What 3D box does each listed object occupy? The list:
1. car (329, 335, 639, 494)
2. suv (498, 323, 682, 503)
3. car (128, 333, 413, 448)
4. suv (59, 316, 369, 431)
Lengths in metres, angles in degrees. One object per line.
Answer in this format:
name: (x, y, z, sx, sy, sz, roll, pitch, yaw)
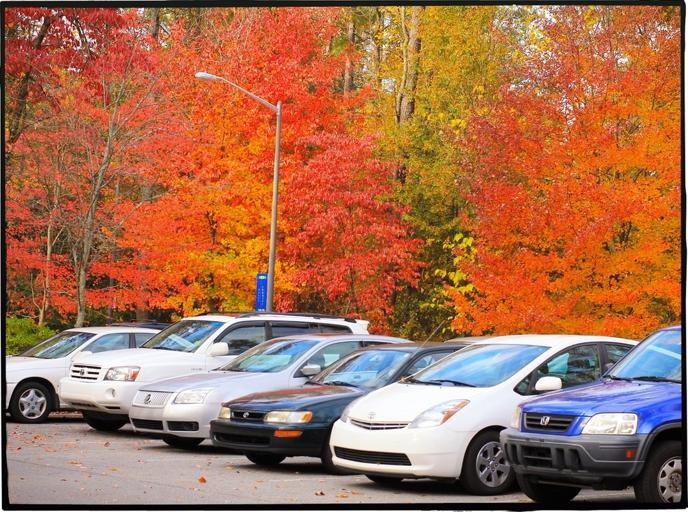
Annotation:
car: (2.050, 2.174, 14.225, 3.738, 1.326, 2.154, 5, -9, -32)
suv: (3.178, 2.042, 12.700, 2.025, 2.186, 1.250, 0, -10, 15)
car: (-1.180, 2.173, 17.111, 4.236, 1.275, 2.049, 2, -7, -23)
suv: (-2.453, 2.135, 19.342, 5.180, 1.571, 2.465, 4, -7, -24)
